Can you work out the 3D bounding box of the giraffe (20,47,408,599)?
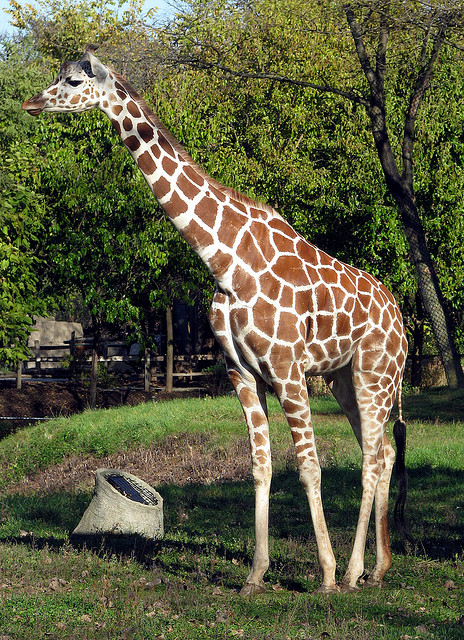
[{"bbox_3d":[0.687,0.361,12.533,2.659,4.785,6.075,0,-5,11],"label":"giraffe"}]
